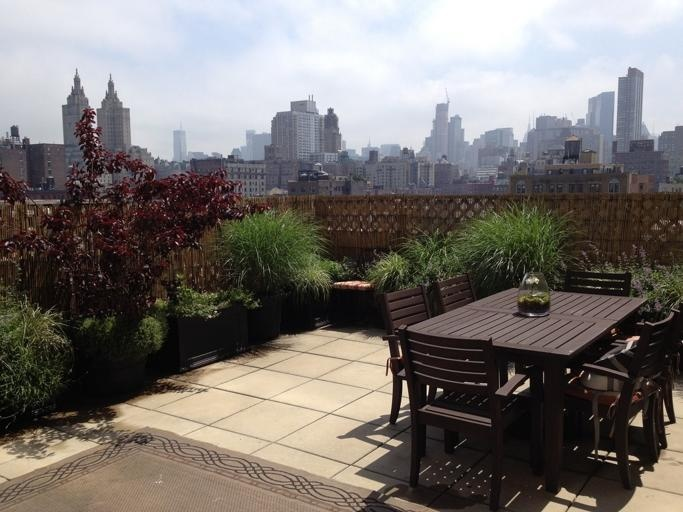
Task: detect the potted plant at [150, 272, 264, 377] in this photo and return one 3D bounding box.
[{"bbox_3d":[-1.603,0.755,6.321,0.400,0.962,1.204,7,12,42],"label":"potted plant"}]

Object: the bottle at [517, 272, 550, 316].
[{"bbox_3d":[1.576,0.295,4.482,0.277,0.364,0.294,-2,5,0],"label":"bottle"}]

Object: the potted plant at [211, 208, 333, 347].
[{"bbox_3d":[-1.001,0.204,7.894,1.492,1.778,1.568,4,8,36],"label":"potted plant"}]
